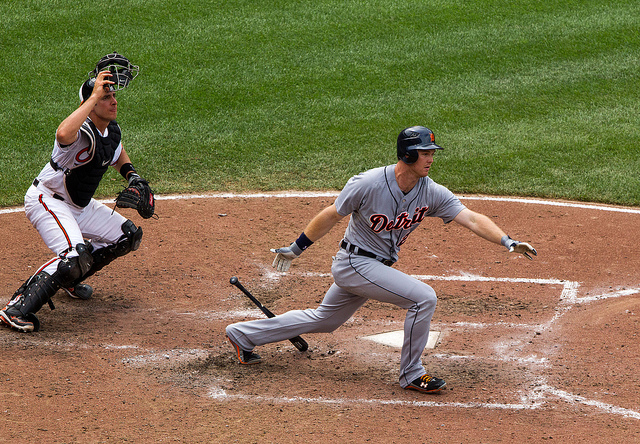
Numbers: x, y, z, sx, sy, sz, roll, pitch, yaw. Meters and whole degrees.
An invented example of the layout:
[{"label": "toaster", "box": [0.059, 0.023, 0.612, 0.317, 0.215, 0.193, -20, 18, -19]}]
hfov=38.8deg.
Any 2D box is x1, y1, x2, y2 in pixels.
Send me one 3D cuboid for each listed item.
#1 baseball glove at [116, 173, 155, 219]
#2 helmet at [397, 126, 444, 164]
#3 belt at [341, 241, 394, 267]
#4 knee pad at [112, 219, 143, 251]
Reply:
[{"label": "baseball glove", "box": [-2.128, -0.268, 10.531, 0.370, 0.502, 0.427, 4, 20, 5]}, {"label": "helmet", "box": [0.991, -0.787, 9.326, 0.413, 0.348, 0.296, -5, 21, -18]}, {"label": "belt", "box": [0.482, 0.349, 9.521, 0.545, 0.252, 0.187, 1, 20, 1]}, {"label": "knee pad", "box": [-2.207, 0.176, 10.593, 0.173, 0.381, 0.373, 16, 25, 33]}]
